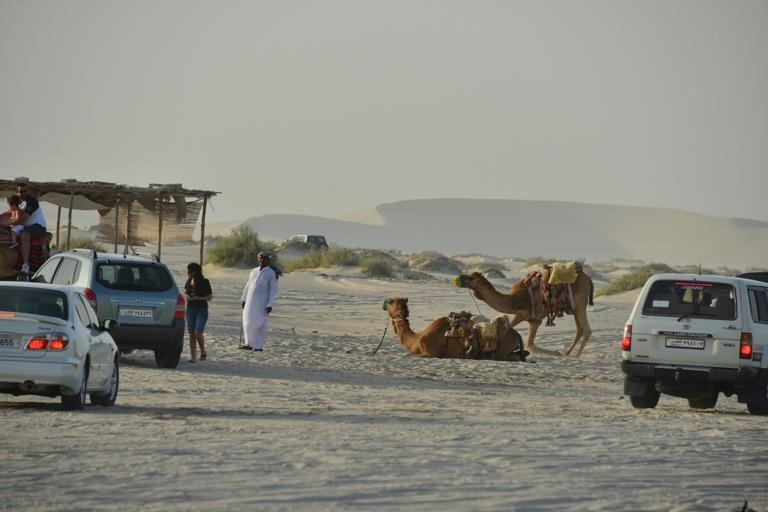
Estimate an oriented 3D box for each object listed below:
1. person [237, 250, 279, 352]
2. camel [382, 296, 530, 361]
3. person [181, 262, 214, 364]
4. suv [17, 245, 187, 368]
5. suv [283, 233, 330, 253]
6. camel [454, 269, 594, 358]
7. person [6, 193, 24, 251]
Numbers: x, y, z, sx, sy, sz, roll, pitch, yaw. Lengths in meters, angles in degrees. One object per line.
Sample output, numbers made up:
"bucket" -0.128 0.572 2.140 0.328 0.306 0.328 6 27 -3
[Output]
"person" -2.308 0.862 18.793 0.794 1.850 0.979 0 0 38
"camel" 1.531 1.613 20.240 4.546 1.467 1.812 0 -4 4
"person" -3.315 1.015 17.180 0.648 1.659 0.598 -4 -8 41
"suv" -4.069 0.710 15.536 1.576 1.116 2.800 2 4 -22
"suv" -4.500 -0.764 57.483 2.095 0.787 1.301 2 -2 -13
"camel" 2.925 1.170 19.797 3.457 1.847 0.833 -2 -6 -30
"person" -6.171 -0.580 16.379 0.240 0.888 0.726 3 0 -20
